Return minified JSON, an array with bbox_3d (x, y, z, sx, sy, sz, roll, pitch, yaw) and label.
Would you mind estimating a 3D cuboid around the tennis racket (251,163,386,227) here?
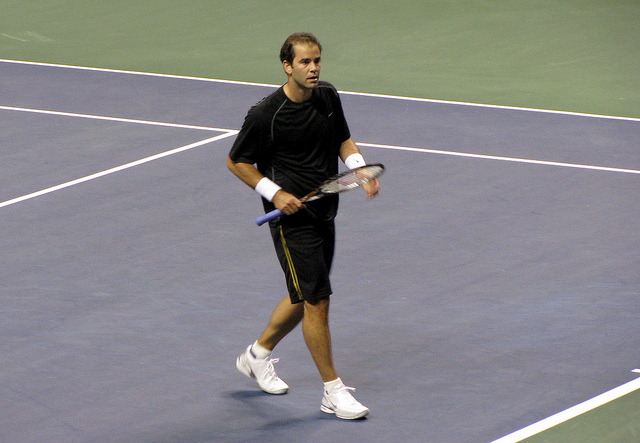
[{"bbox_3d":[-0.043,-0.178,7.541,0.313,1.144,0.053,14,56,-60],"label":"tennis racket"}]
